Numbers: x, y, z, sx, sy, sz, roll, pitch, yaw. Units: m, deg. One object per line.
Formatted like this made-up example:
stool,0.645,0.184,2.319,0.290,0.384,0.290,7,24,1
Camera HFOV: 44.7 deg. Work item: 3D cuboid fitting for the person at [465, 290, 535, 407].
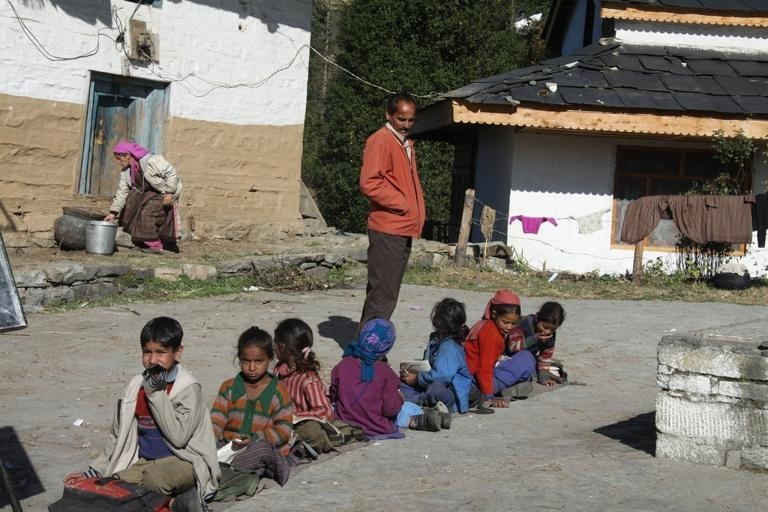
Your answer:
person,1.299,0.950,10.688,0.806,1.230,1.138,1,17,4

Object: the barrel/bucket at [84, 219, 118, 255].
barrel/bucket,-4.335,-0.290,14.368,0.467,0.444,0.520,1,-3,0

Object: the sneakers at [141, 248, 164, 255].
sneakers,-3.719,-0.072,15.131,0.358,0.133,0.128,6,-2,-15

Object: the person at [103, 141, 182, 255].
person,-3.846,-0.985,15.221,1.083,1.681,0.341,3,2,-16

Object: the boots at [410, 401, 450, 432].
boots,0.496,1.673,9.807,0.332,0.156,0.295,-2,6,3

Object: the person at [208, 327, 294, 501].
person,-1.234,1.417,8.943,0.794,1.490,0.362,3,2,-11

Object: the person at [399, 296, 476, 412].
person,0.596,1.071,10.248,0.756,0.882,0.457,3,2,2

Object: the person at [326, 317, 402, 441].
person,-0.109,1.264,9.941,0.822,1.172,0.932,15,11,34

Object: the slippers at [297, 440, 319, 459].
slippers,-0.744,1.911,9.241,0.063,0.212,0.150,-45,-2,-46
